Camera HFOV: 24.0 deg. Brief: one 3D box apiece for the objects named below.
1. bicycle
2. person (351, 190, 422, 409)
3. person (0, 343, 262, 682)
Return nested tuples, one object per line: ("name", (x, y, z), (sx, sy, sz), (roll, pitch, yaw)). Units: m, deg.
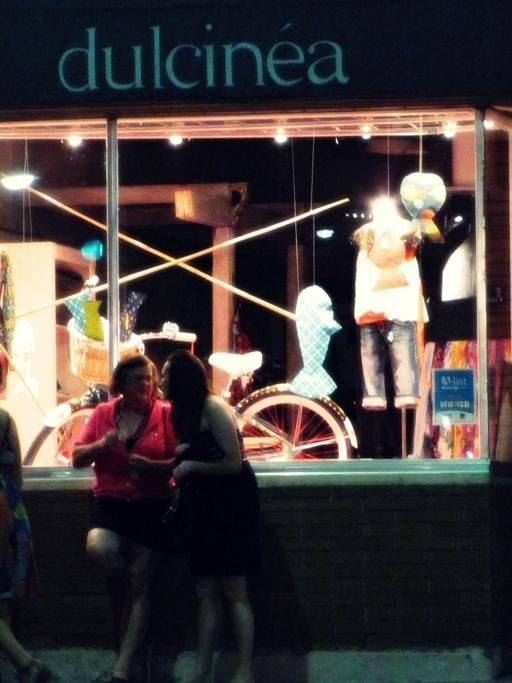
("bicycle", (-0.315, 0.457, 7.372), (1.770, 1.214, 0.923), (-8, -7, 20))
("person", (0.763, -0.201, 6.959), (0.380, 1.202, 0.186), (0, -2, 9))
("person", (-0.490, 0.842, 5.879), (0.792, 1.551, 0.433), (1, -2, -10))
